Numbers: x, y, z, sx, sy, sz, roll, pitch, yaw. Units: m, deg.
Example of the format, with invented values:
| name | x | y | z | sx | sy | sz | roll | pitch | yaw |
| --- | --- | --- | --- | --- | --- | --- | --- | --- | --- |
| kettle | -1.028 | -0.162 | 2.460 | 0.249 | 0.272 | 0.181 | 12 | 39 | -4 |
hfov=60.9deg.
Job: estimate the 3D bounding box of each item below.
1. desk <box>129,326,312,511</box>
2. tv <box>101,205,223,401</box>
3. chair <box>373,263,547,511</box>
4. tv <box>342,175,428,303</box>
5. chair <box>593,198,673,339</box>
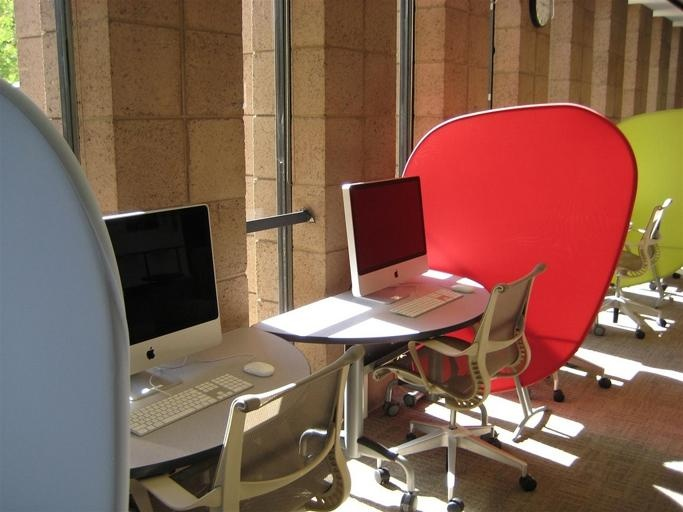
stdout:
| name | x | y | z | sx | sy | sz | roll | pitch | yaw |
| --- | --- | --- | --- | --- | --- | --- | --- | --- | --- |
| desk | -0.421 | 0.433 | 1.809 | 0.442 | 0.261 | 0.712 | 17 | 25 | 32 |
| tv | -0.465 | 0.124 | 1.554 | 0.167 | 0.498 | 0.485 | 6 | 17 | 24 |
| chair | 0.583 | 0.655 | 2.862 | 0.729 | 1.018 | 0.696 | 16 | 24 | 37 |
| tv | 0.217 | -0.073 | 2.898 | 0.178 | 0.507 | 0.553 | 7 | 19 | 34 |
| chair | 2.598 | 0.025 | 5.141 | 0.553 | 1.141 | 1.327 | 6 | 13 | 29 |
